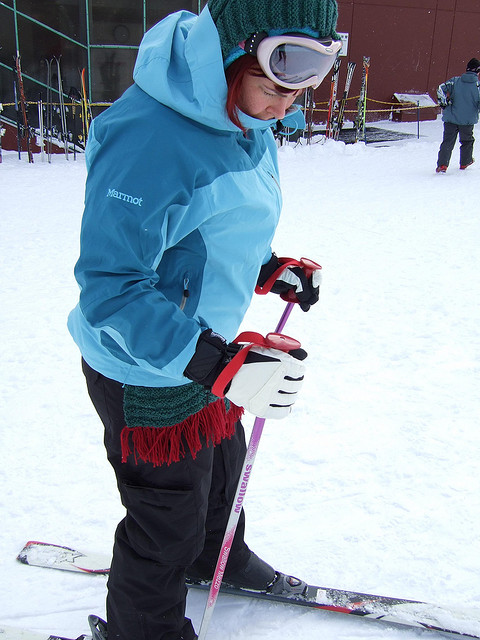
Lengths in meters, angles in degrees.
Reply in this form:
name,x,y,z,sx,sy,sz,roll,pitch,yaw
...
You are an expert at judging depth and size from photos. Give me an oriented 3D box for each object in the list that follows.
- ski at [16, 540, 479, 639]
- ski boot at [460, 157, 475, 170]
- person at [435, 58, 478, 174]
name,x,y,z,sx,sy,sz,roll,pitch,yaw
ski,0.008,0.831,1.865,1.409,0.087,0.111,4,10,9
ski boot,3.443,-2.329,9.009,0.108,0.105,0.294,16,39,30
person,3.186,-2.925,8.623,0.633,1.610,0.632,5,11,5
